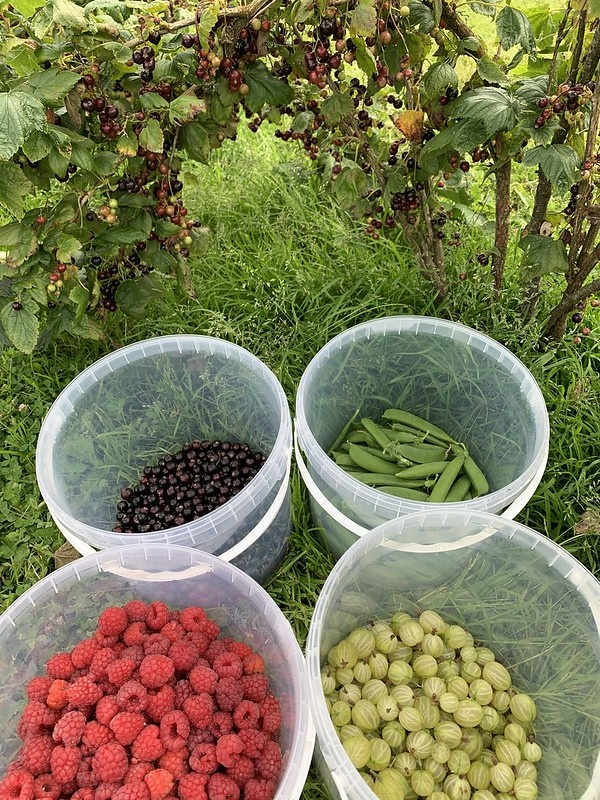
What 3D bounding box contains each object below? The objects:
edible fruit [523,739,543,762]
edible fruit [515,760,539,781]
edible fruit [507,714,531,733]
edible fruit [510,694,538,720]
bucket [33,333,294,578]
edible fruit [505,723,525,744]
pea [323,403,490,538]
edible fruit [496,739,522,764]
[{"bbox_3d":[0.629,0.955,1.952,0.056,0.053,0.034,-16,10,-10],"label":"edible fruit"},{"bbox_3d":[0.609,0.994,1.930,0.051,0.036,0.053,-8,33,-8],"label":"edible fruit"},{"bbox_3d":[0.618,0.905,2.018,0.051,0.031,0.056,-2,7,0],"label":"edible fruit"},{"bbox_3d":[0.616,0.859,2.027,0.066,0.059,0.071,-7,48,-8],"label":"edible fruit"},{"bbox_3d":[-0.409,0.209,2.653,0.913,0.676,0.882,-3,63,5],"label":"bucket"},{"bbox_3d":[0.592,0.917,1.976,0.043,0.037,0.047,0,22,-8],"label":"edible fruit"},{"bbox_3d":[0.396,0.181,2.512,0.474,0.114,0.293,11,53,21],"label":"pea"},{"bbox_3d":[0.561,0.948,1.937,0.053,0.037,0.055,-12,40,-10],"label":"edible fruit"}]
